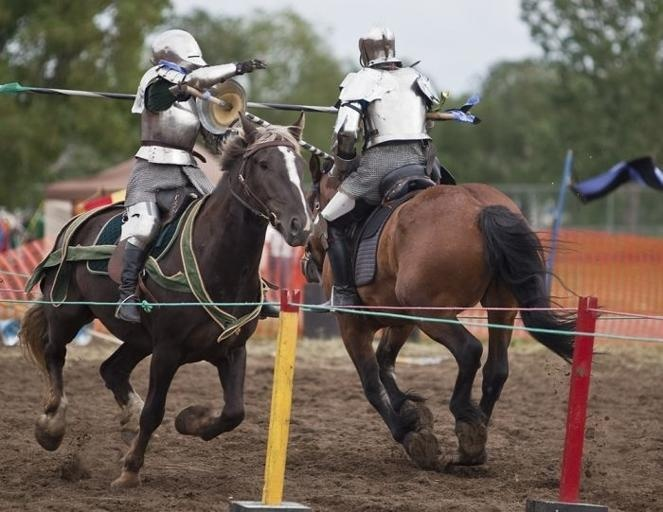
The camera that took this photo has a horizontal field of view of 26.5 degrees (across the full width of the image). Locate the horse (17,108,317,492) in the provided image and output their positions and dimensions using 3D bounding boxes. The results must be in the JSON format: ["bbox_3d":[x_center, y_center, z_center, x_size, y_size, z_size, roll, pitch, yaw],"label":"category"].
[{"bbox_3d":[-1.782,0.493,15.564,3.481,4.118,1.082,4,2,31],"label":"horse"}]

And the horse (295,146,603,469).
[{"bbox_3d":[0.944,0.593,16.864,1.448,4.026,5.365,-4,0,-26],"label":"horse"}]
